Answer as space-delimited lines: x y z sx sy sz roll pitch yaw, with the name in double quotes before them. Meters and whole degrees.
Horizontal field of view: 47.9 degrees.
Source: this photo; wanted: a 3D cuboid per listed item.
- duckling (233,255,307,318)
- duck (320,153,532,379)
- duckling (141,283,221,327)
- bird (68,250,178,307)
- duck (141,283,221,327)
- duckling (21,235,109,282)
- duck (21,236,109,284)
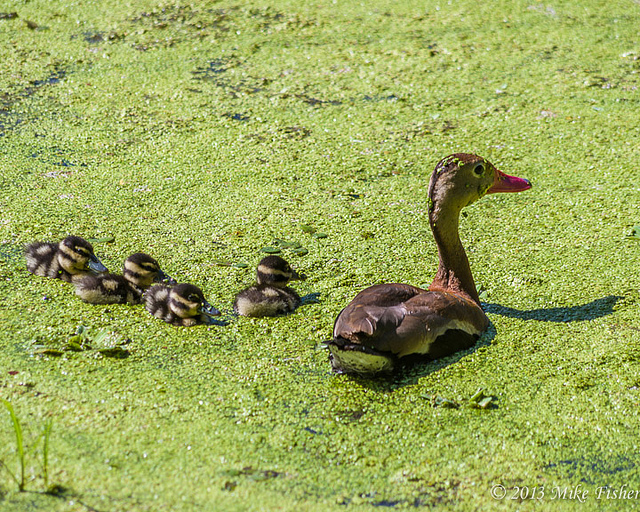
"duckling" -0.355 0.212 5.062 0.447 0.252 0.565 3 29 12
"duck" 0.642 0.054 4.393 0.780 1.112 1.421 13 35 26
"duckling" -0.997 0.300 4.867 0.539 0.289 0.266 19 41 35
"bird" -1.374 0.199 5.124 0.876 0.327 0.264 -3 20 9
"duck" -0.944 0.332 4.799 0.660 0.300 0.194 11 46 13
"duckling" -1.895 -0.023 5.324 0.756 0.283 0.276 15 27 21
"duck" -1.771 0.031 5.323 0.564 0.367 0.704 -5 21 -14
